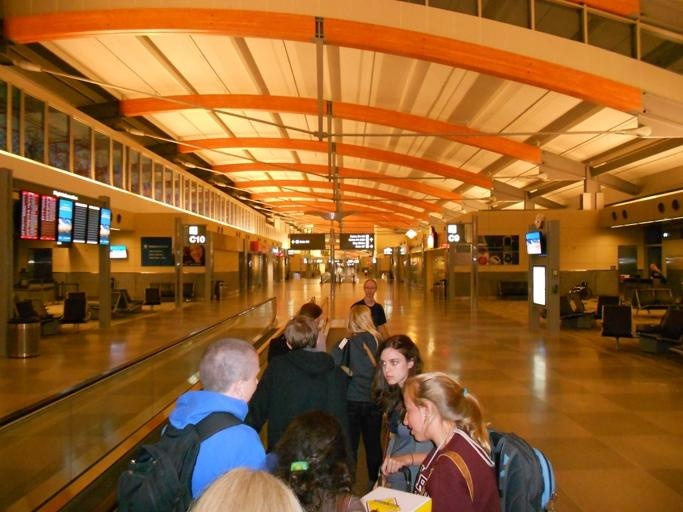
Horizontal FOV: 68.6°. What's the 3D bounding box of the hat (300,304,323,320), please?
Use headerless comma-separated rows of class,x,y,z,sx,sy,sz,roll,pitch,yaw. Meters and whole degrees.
hat,-0.406,0.698,6.100,0.177,0.201,0.223,5,14,20

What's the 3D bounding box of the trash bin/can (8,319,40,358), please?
trash bin/can,-7.348,1.938,11.584,0.742,0.841,0.763,3,-1,-43

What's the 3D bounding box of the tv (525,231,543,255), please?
tv,5.736,-0.383,14.737,0.338,0.714,0.840,-1,-1,8
